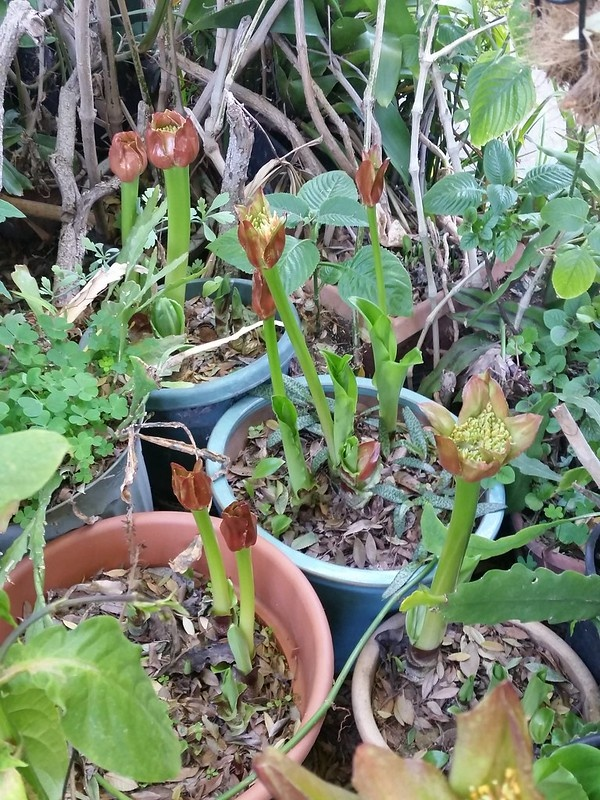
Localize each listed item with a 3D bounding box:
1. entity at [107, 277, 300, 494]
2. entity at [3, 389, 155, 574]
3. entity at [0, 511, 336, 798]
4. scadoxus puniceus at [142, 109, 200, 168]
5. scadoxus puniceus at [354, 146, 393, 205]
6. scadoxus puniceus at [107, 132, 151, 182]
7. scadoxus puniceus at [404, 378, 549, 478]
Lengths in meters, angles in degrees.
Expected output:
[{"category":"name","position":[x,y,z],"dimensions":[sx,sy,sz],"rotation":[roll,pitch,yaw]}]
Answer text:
[{"category":"entity","position":[-0.142,-0.023,1.008],"dimensions":[0.256,0.198,0.257],"rotation":[-1,49,-1]},{"category":"entity","position":[-0.250,0.102,0.746],"dimensions":[0.145,0.120,0.155],"rotation":[-3,47,-3]},{"category":"entity","position":[-0.125,0.330,0.701],"dimensions":[0.310,0.109,0.297],"rotation":[5,44,-5]},{"category":"scadoxus puniceus","position":[-0.163,-0.350,0.838],"dimensions":[0.071,0.068,0.092],"rotation":[-1,49,1]},{"category":"scadoxus puniceus","position":[0.081,-0.253,0.701],"dimensions":[0.040,0.068,0.037],"rotation":[-14,23,-37]},{"category":"scadoxus puniceus","position":[-0.240,-0.344,0.861],"dimensions":[0.062,0.074,0.064],"rotation":[0,67,-8]},{"category":"scadoxus puniceus","position":[0.137,0.017,0.431],"dimensions":[0.104,0.053,0.091],"rotation":[-8,18,-8]}]
